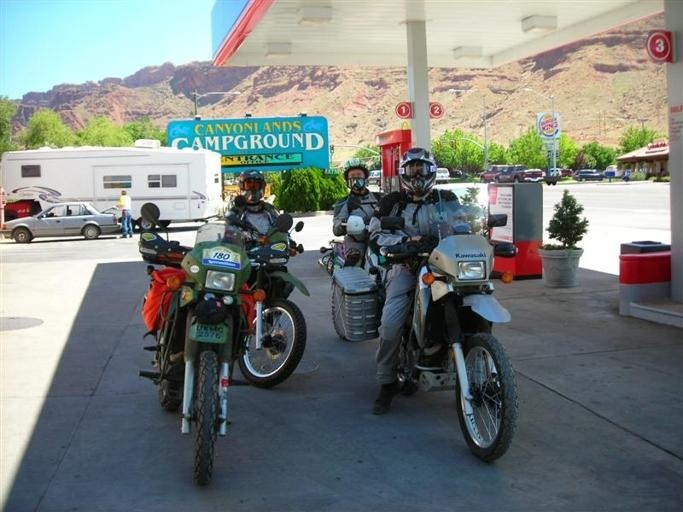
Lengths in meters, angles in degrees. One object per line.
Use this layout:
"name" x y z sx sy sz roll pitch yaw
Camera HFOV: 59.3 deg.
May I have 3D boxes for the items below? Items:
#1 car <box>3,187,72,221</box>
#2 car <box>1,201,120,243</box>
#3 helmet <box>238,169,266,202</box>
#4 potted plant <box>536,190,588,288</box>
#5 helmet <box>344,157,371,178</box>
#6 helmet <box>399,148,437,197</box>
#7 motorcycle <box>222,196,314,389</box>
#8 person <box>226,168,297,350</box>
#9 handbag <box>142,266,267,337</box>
"car" -14.205 -2.591 27.916 2.607 1.297 1.516 -7 10 -3
"car" -11.696 -1.404 25.573 4.149 1.542 1.924 0 3 -9
"helmet" -1.111 -0.881 7.479 0.331 0.431 0.420 -4 10 -9
"potted plant" 4.294 -0.394 11.624 0.805 1.801 1.677 1 9 22
"helmet" 0.207 -1.340 8.963 0.260 0.345 0.299 -1 0 1
"helmet" 0.729 -0.819 5.743 0.339 0.437 0.480 -3 8 12
"motorcycle" -1.084 0.442 7.379 0.947 1.854 2.529 6 2 -20
"person" -1.041 -0.366 7.216 1.002 1.286 1.863 -2 11 -18
"handbag" -1.328 0.441 5.299 0.561 0.659 1.073 2 3 -26
